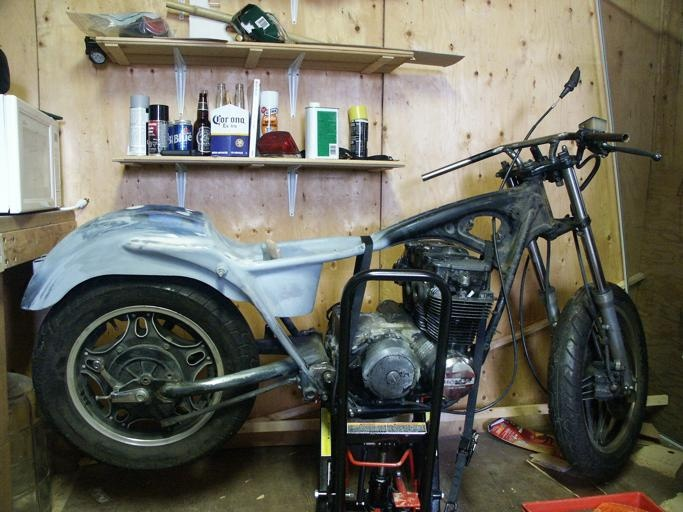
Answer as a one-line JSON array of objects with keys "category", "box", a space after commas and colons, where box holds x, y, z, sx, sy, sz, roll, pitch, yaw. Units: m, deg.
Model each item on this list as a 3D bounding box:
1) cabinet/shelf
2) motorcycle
[{"category": "cabinet/shelf", "box": [-0.413, -0.674, 2.967, 1.402, 0.584, 0.461, -2, 8, -14]}, {"category": "motorcycle", "box": [0.128, 0.172, 2.691, 2.755, 1.701, 0.837, 0, 10, -5]}]
